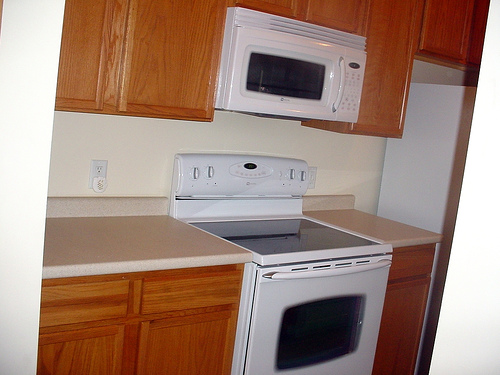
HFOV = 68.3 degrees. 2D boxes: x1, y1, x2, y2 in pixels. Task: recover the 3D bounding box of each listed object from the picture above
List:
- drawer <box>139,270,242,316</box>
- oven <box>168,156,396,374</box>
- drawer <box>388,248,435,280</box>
[{"bbox_3d":[-0.244,0.395,1.400,0.246,0.082,0.172,0,10,-20],"label":"drawer"},{"bbox_3d":[0.146,0.386,1.853,0.847,0.994,0.787,-2,14,-39],"label":"oven"},{"bbox_3d":[0.888,0.413,2.015,0.280,0.141,0.180,-3,5,-27],"label":"drawer"}]
